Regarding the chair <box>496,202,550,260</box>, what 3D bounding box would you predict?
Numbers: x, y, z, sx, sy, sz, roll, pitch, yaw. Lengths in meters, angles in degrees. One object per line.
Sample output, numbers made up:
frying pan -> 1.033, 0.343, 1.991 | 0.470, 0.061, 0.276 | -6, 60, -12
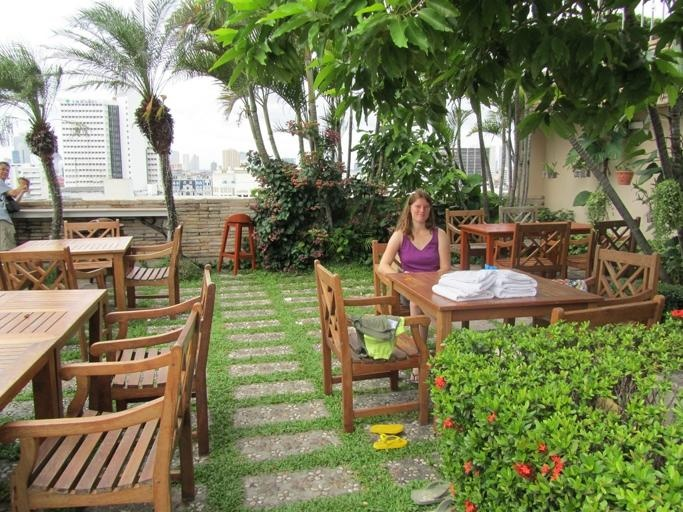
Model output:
chair -> 3.341, -0.557, 9.056 | 0.681, 0.935, 0.676 | 10, -3, -42

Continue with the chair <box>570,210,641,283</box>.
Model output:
chair -> 3.759, -0.121, 7.009 | 0.585, 0.853, 0.527 | 1, 1, -28

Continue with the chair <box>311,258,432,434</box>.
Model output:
chair -> 0.360, 0.631, 4.443 | 1.109, 1.753, 1.182 | -4, 9, -8

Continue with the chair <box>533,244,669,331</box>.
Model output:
chair -> 2.201, 0.236, 4.178 | 0.689, 1.143, 0.743 | 1, 7, -5

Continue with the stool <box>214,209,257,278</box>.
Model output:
stool -> -1.998, -0.266, 9.655 | 0.764, 1.094, 0.766 | 2, 7, -14

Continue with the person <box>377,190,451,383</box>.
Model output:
person -> 0.732, 0.233, 4.842 | 0.643, 1.711, 0.882 | -2, 7, 12
